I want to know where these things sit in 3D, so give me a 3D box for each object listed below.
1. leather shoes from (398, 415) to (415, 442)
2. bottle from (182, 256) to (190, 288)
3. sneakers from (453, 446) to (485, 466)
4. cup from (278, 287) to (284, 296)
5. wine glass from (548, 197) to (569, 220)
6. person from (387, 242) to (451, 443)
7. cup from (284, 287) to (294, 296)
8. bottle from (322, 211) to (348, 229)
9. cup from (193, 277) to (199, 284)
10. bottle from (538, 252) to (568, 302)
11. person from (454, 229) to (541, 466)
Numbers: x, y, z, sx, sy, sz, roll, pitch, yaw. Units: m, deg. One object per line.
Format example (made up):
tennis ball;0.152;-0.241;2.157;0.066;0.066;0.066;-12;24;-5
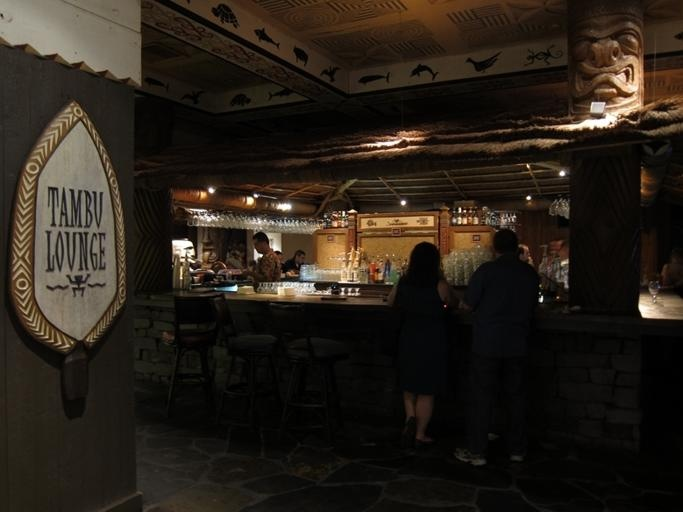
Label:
leather shoes;0.579;1.529;5.205;0.090;0.238;0.108;5;-7;5
bottle;-2.131;0.214;7.910;0.124;0.406;0.565;-3;7;-16
sneakers;1.059;1.650;4.887;0.230;0.104;0.102;14;15;37
cup;-0.736;0.431;7.146;0.085;0.079;0.082;1;-3;0
wine glass;3.002;-0.660;8.066;0.214;0.261;0.515;1;7;15
person;0.699;0.771;5.189;0.511;1.783;0.355;0;8;5
cup;-0.645;0.434;7.158;0.126;0.088;0.149;-2;7;-9
bottle;-0.092;-0.721;11.606;0.515;0.307;0.382;1;7;17
cup;-2.648;0.432;10.595;0.123;0.113;0.120;0;-1;0
bottle;2.376;0.203;6.575;0.286;0.451;0.963;2;7;19
person;1.289;0.746;4.860;0.697;1.899;0.389;-1;7;-1
